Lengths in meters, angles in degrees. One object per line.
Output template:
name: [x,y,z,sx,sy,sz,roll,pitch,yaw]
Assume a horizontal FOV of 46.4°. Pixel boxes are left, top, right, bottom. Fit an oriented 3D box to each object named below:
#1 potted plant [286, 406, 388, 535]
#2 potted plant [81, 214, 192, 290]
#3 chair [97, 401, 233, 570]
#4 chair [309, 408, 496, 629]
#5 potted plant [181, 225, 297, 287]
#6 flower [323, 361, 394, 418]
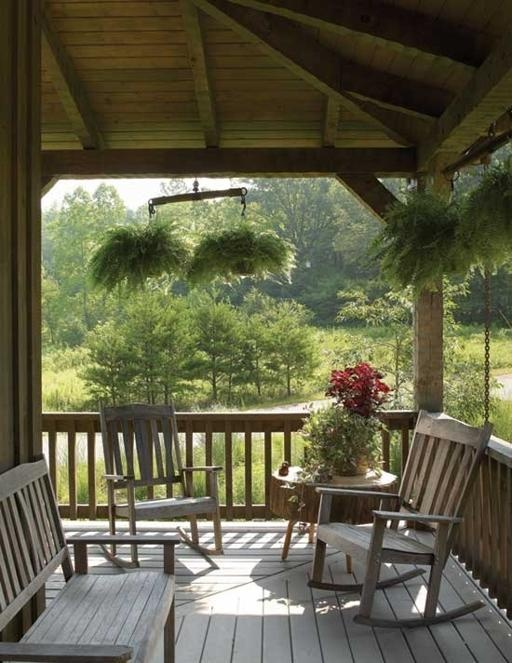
potted plant: [0.501,0.648,3.447,0.454,0.504,0.490,-21,0,-22]
potted plant: [-0.722,-0.494,4.103,0.787,0.481,0.754,-3,2,-42]
chair: [-0.582,0.901,3.544,0.562,0.925,0.640,2,-6,-30]
chair: [0.671,0.864,2.799,0.612,0.882,0.614,4,-4,-12]
potted plant: [-0.129,-0.595,4.049,0.667,0.505,0.726,0,10,0]
flower: [0.589,0.361,3.391,0.322,0.330,0.298,-12,17,-20]
